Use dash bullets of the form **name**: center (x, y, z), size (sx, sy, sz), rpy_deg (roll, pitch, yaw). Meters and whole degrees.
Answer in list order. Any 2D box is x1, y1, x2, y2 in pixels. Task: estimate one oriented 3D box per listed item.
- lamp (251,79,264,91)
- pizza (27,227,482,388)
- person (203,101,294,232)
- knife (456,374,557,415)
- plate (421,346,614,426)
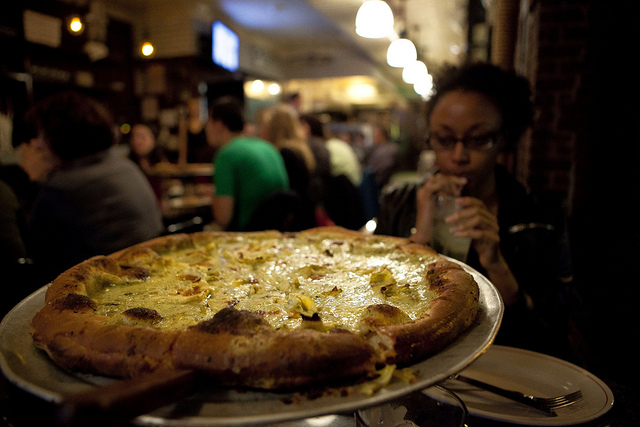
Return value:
- **lamp**: center (-1.363, -2.761, 10.787), size (0.190, 0.225, 0.467), rpy_deg (5, 13, 18)
- **pizza**: center (-0.212, 0.304, 2.004), size (1.681, 0.222, 1.199), rpy_deg (-3, 13, -15)
- **person**: center (-0.567, -0.378, 4.057), size (0.640, 1.046, 1.483), rpy_deg (-3, 14, -12)
- **knife**: center (0.622, 0.642, 1.822), size (0.602, 0.064, 0.067), rpy_deg (0, 4, 16)
- **plate**: center (0.753, 0.627, 1.839), size (0.419, 0.050, 0.317), rpy_deg (0, 7, 10)
